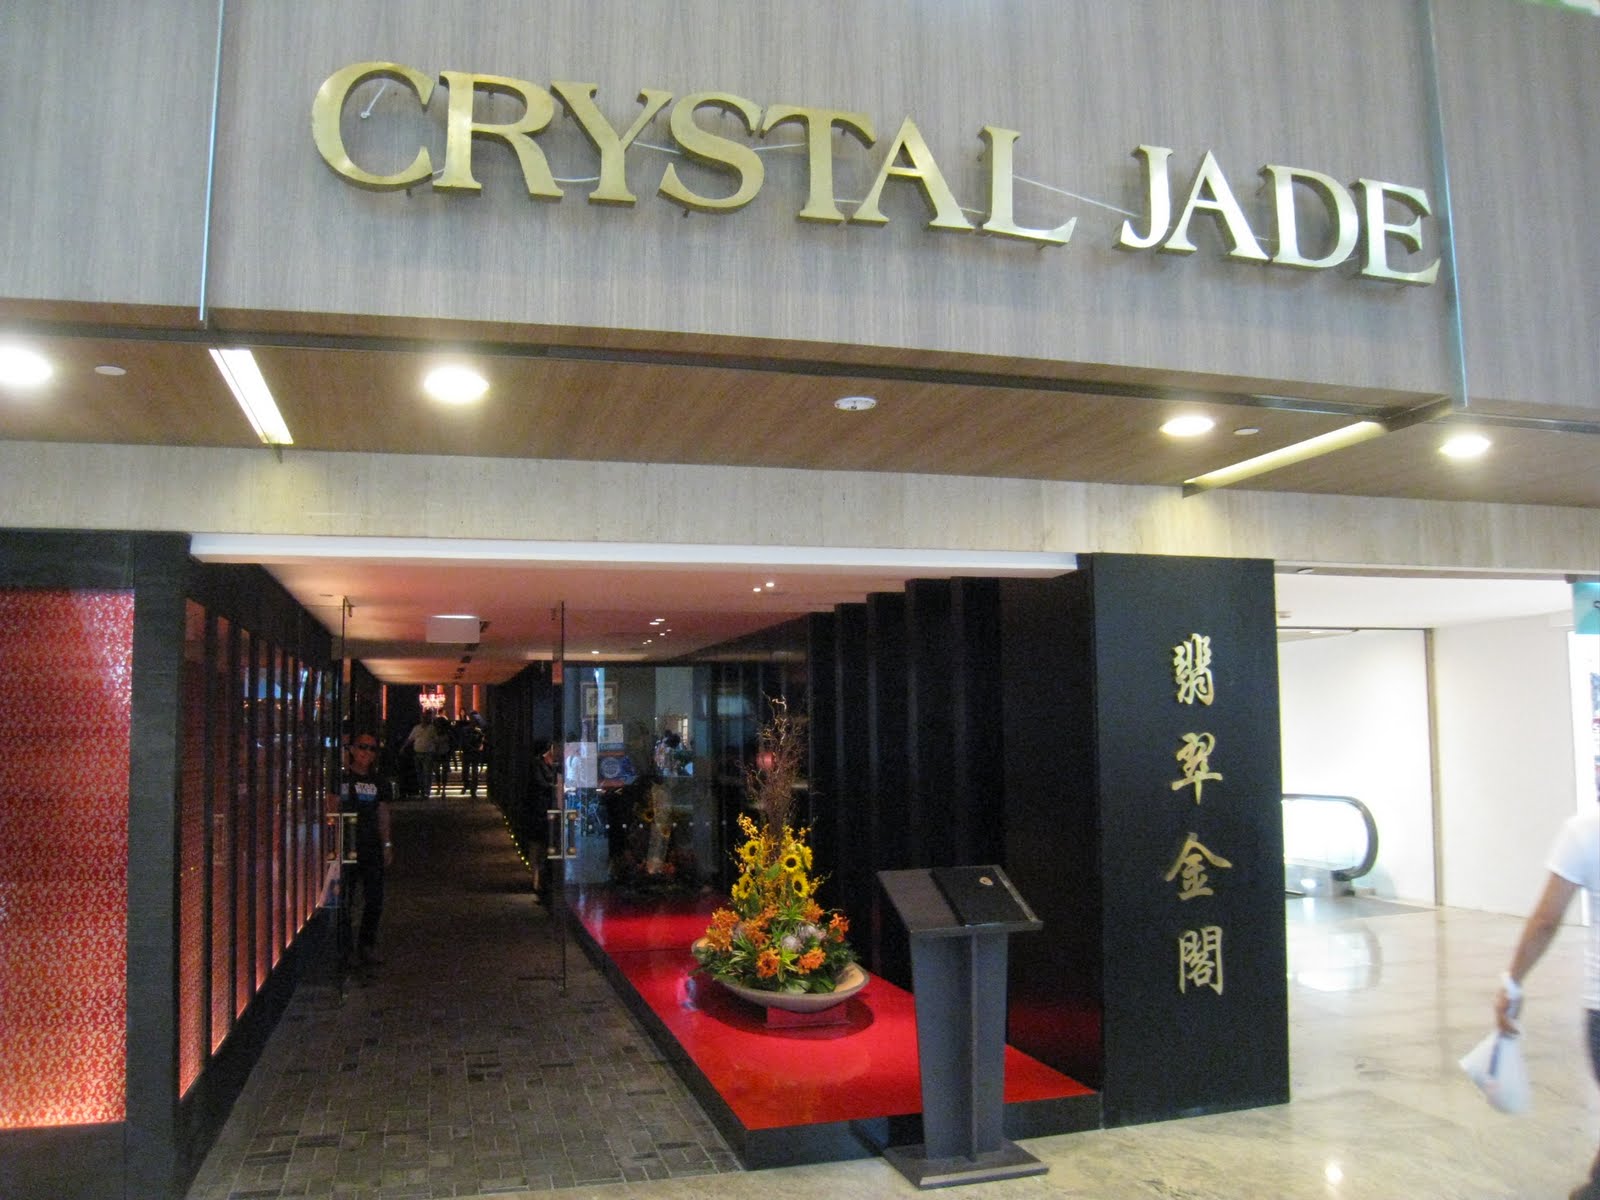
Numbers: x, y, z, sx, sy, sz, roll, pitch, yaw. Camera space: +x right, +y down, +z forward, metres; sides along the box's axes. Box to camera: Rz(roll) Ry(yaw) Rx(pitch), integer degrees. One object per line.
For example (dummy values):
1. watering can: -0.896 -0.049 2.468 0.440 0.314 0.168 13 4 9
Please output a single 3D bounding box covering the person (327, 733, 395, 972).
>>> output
1. person: -3.364 1.951 10.019 0.389 1.967 1.483 0 -2 -18
